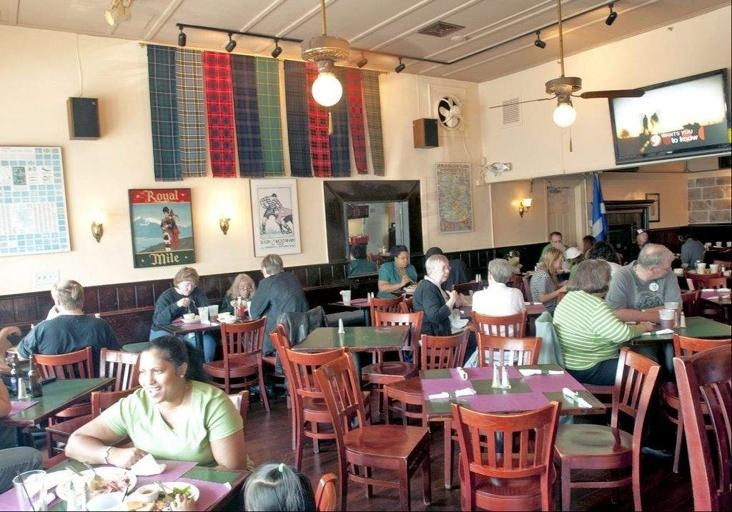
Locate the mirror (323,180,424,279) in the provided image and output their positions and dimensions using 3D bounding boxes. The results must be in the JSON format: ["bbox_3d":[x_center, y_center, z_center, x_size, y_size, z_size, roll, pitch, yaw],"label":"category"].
[{"bbox_3d":[0.044,-0.453,9.196,1.848,1.335,0.140,-3,3,-30],"label":"mirror"}]

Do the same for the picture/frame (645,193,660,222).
[{"bbox_3d":[6.574,-1.108,12.842,0.069,0.928,0.744,-1,0,44],"label":"picture/frame"}]

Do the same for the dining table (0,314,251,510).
[{"bbox_3d":[-1.517,0.905,3.847,0.970,1.465,1.052,0,1,33],"label":"dining table"}]

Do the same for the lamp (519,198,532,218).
[{"bbox_3d":[3.252,-0.985,11.240,0.376,0.381,0.107,-8,7,-36],"label":"lamp"}]

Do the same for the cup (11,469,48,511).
[{"bbox_3d":[-1.846,1.297,3.086,0.152,0.182,0.213,-8,7,-31],"label":"cup"}]

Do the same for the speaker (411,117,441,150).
[{"bbox_3d":[1.067,-2.148,9.758,0.410,0.497,0.296,-9,7,-37],"label":"speaker"}]

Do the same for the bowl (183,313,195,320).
[{"bbox_3d":[-2.037,0.698,6.451,0.086,0.043,0.081,2,4,0],"label":"bowl"}]

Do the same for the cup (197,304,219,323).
[{"bbox_3d":[-1.859,0.685,6.554,0.205,0.166,0.214,0,-6,0],"label":"cup"}]

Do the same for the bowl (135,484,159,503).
[{"bbox_3d":[-1.191,1.295,3.062,0.077,0.052,0.077,1,8,0],"label":"bowl"}]

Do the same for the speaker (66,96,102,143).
[{"bbox_3d":[-3.562,-1.753,7.045,0.372,0.523,0.257,-7,6,-24],"label":"speaker"}]
